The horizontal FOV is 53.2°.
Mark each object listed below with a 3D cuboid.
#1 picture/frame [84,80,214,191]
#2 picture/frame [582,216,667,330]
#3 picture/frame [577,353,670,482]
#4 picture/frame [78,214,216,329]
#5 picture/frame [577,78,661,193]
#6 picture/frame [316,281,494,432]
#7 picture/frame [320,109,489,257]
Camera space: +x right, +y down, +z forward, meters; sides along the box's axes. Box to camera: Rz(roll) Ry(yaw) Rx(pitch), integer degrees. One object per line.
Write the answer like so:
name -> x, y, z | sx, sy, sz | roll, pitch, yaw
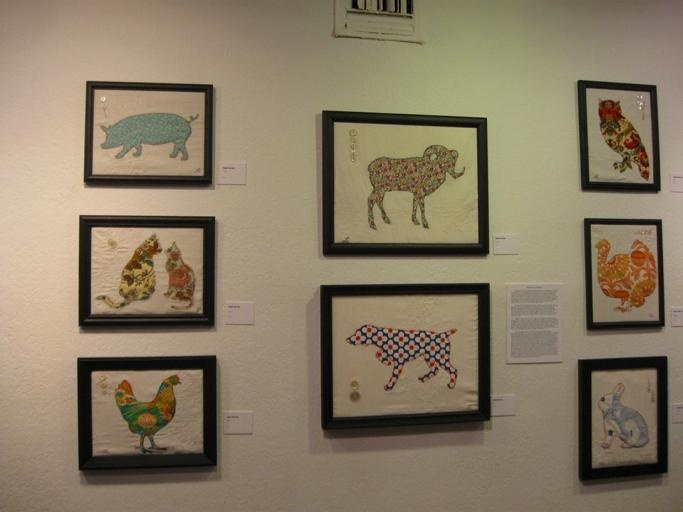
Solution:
picture/frame -> -0.937, -0.574, 3.243 | 0.470, 0.432, 0.040 | 1, 1, -3
picture/frame -> 1.395, 0.085, 3.404 | 0.507, 0.762, 0.032 | 0, -1, -7
picture/frame -> 1.392, 0.807, 3.407 | 0.580, 0.844, 0.089 | 0, -2, -14
picture/frame -> -0.947, 0.073, 3.234 | 0.488, 0.461, 0.043 | 0, 2, -3
picture/frame -> 1.376, -0.588, 3.415 | 0.509, 0.736, 0.047 | 1, -6, -12
picture/frame -> 0.276, 0.481, 3.306 | 0.654, 0.607, 0.039 | -1, 3, -5
picture/frame -> 0.277, -0.343, 3.312 | 0.646, 0.591, 0.047 | 0, -2, -7
